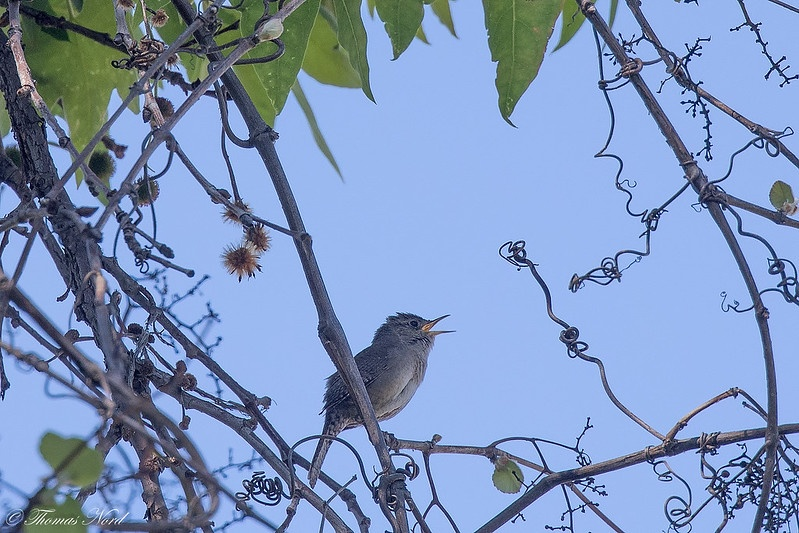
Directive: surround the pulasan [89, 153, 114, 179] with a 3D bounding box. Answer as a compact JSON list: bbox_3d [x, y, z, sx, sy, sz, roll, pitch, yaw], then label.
[{"bbox_3d":[-0.860,-0.274,4.929,0.069,0.133,0.073,6,-72,-7],"label":"pulasan"}]
